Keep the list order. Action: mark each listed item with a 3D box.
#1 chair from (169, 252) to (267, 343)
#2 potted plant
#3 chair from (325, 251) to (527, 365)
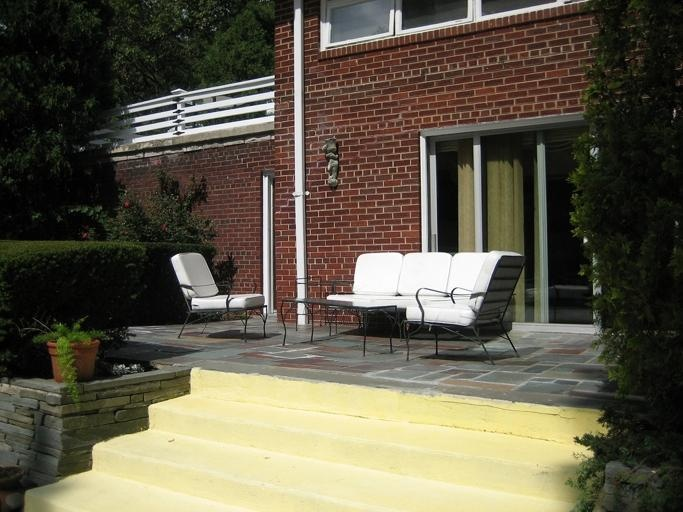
[{"bbox_3d":[-1.727,0.528,8.039,1.230,1.091,0.841,1,2,9],"label":"chair"},{"bbox_3d":[-2.318,0.826,4.898,0.509,0.546,0.390,2,6,-15],"label":"potted plant"},{"bbox_3d":[1.224,0.575,6.510,1.575,1.438,1.205,-3,-3,24],"label":"chair"}]
